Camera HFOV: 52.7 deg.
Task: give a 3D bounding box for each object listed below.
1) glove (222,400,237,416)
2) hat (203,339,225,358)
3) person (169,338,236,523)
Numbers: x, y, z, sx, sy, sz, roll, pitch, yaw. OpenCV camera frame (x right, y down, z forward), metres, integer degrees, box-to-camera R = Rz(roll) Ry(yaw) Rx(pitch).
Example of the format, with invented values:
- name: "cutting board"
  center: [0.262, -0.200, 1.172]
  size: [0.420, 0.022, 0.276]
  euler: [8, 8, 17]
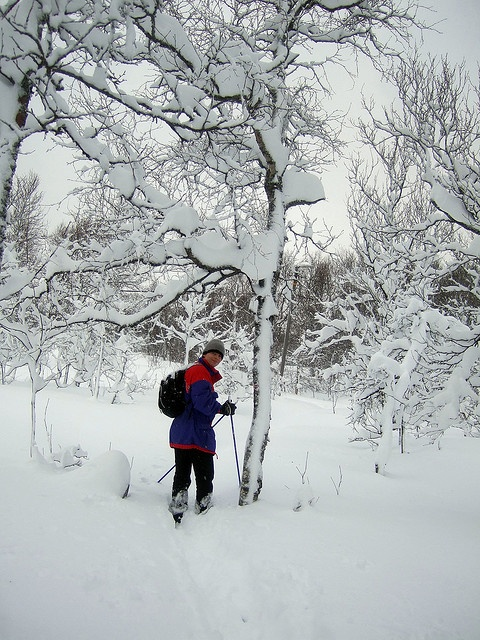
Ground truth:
- name: "glove"
  center: [-0.106, 0.850, 4.701]
  size: [0.112, 0.071, 0.171]
  euler: [2, -8, 12]
- name: "hat"
  center: [-0.253, 0.283, 4.683]
  size: [0.138, 0.146, 0.190]
  euler: [21, -23, -14]
- name: "person"
  center: [-0.387, 0.936, 4.423]
  size: [0.469, 1.527, 0.534]
  euler: [4, -1, -12]
